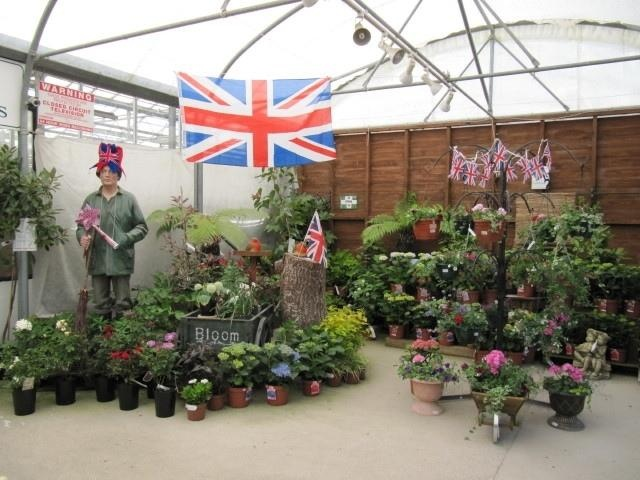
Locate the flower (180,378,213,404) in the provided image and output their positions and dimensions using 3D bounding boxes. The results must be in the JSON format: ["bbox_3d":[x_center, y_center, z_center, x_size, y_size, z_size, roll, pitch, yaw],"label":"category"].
[{"bbox_3d":[-1.219,1.475,4.930,0.283,0.217,0.270,7,3,-4],"label":"flower"}]

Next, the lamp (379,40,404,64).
[{"bbox_3d":[0.795,-2.072,5.485,0.262,0.232,0.362,2,10,8],"label":"lamp"}]

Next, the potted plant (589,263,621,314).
[{"bbox_3d":[3.686,0.631,6.406,0.364,0.621,0.208,5,11,24],"label":"potted plant"}]

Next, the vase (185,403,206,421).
[{"bbox_3d":[-1.222,1.699,4.868,0.186,0.122,0.179,0,-6,0],"label":"vase"}]

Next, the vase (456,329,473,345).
[{"bbox_3d":[1.985,1.343,6.821,0.244,0.163,0.233,1,-8,-6],"label":"vase"}]

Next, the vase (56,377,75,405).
[{"bbox_3d":[-2.659,1.587,5.193,0.184,0.303,0.100,-5,11,-28],"label":"vase"}]

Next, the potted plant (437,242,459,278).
[{"bbox_3d":[1.812,0.323,7.057,0.369,0.444,0.454,-1,-1,28],"label":"potted plant"}]

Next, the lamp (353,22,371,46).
[{"bbox_3d":[0.450,-2.208,5.259,0.147,0.266,0.320,2,10,6],"label":"lamp"}]

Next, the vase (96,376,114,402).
[{"bbox_3d":[-2.286,1.585,5.304,0.182,0.296,0.145,-4,11,-24],"label":"vase"}]

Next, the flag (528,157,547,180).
[{"bbox_3d":[3.025,-0.992,6.966,0.351,0.321,0.092,-1,1,-14],"label":"flag"}]

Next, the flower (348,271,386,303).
[{"bbox_3d":[0.733,0.777,8.028,0.522,0.408,0.515,-29,25,-38],"label":"flower"}]

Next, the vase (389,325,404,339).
[{"bbox_3d":[1.178,1.420,7.656,0.216,0.150,0.209,1,-4,17],"label":"vase"}]

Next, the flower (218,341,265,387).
[{"bbox_3d":[-0.820,1.306,5.172,0.496,0.337,0.449,-1,15,-1],"label":"flower"}]

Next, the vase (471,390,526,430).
[{"bbox_3d":[1.716,1.595,4.755,0.476,0.325,0.436,0,-2,22],"label":"vase"}]

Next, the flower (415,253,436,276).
[{"bbox_3d":[1.567,0.358,7.368,0.331,0.163,0.317,0,36,21],"label":"flower"}]

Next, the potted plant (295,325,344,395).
[{"bbox_3d":[0.029,1.366,5.663,0.631,0.548,0.618,4,-2,-44],"label":"potted plant"}]

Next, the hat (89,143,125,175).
[{"bbox_3d":[-2.534,-0.968,6.013,0.445,0.395,0.390,7,1,-9],"label":"hat"}]

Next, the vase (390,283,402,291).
[{"bbox_3d":[1.215,0.780,7.894,0.188,0.128,0.111,4,10,21],"label":"vase"}]

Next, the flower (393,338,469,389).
[{"bbox_3d":[1.225,1.325,5.324,0.741,0.479,0.709,6,-9,-22],"label":"flower"}]

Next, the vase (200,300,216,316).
[{"bbox_3d":[-1.281,0.784,5.692,0.179,0.179,0.134,-1,10,-13],"label":"vase"}]

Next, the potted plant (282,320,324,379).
[{"bbox_3d":[-0.159,1.243,5.624,0.530,0.561,0.581,-3,6,23],"label":"potted plant"}]

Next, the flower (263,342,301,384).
[{"bbox_3d":[-0.425,1.334,5.336,0.441,0.305,0.411,6,37,-13],"label":"flower"}]

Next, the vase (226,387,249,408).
[{"bbox_3d":[-0.849,1.644,5.160,0.223,0.144,0.214,2,0,7],"label":"vase"}]

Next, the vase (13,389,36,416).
[{"bbox_3d":[-2.949,1.602,4.967,0.202,0.293,0.170,-5,12,-31],"label":"vase"}]

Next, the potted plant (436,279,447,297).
[{"bbox_3d":[1.874,0.769,7.599,0.142,0.302,0.241,3,10,16],"label":"potted plant"}]

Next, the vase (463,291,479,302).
[{"bbox_3d":[2.152,0.823,7.074,0.214,0.116,0.211,-1,-2,24],"label":"vase"}]

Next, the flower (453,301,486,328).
[{"bbox_3d":[2.037,0.995,6.643,0.343,0.218,0.335,1,2,33],"label":"flower"}]

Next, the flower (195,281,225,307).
[{"bbox_3d":[-1.269,0.612,5.723,0.296,0.186,0.353,-3,0,-3],"label":"flower"}]

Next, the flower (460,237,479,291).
[{"bbox_3d":[2.080,0.376,6.911,0.234,0.722,0.671,4,10,18],"label":"flower"}]

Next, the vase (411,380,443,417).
[{"bbox_3d":[1.113,1.625,5.173,0.375,0.255,0.365,1,-4,13],"label":"vase"}]

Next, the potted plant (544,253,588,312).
[{"bbox_3d":[3.046,0.527,6.152,0.483,0.630,0.800,7,11,31],"label":"potted plant"}]

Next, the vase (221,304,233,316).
[{"bbox_3d":[-1.029,0.824,5.581,0.124,0.123,0.190,-1,10,-11],"label":"vase"}]

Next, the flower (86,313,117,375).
[{"bbox_3d":[-2.386,1.156,5.388,0.311,0.570,0.482,3,-12,-21],"label":"flower"}]

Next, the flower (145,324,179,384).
[{"bbox_3d":[-1.679,1.290,5.278,0.345,0.484,0.569,-2,10,-18],"label":"flower"}]

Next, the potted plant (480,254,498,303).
[{"bbox_3d":[2.394,0.594,7.045,0.226,0.727,0.492,4,10,19],"label":"potted plant"}]

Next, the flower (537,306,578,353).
[{"bbox_3d":[2.963,1.090,6.213,0.598,0.613,0.277,-8,13,-43],"label":"flower"}]

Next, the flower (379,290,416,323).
[{"bbox_3d":[1.202,1.030,7.677,0.562,0.458,0.481,0,-2,4],"label":"flower"}]

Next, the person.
[{"bbox_3d":[-2.512,-0.043,5.907,0.617,2.185,0.695,4,10,15],"label":"person"}]

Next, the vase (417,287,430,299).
[{"bbox_3d":[1.583,0.831,7.618,0.182,0.129,0.174,1,-5,6],"label":"vase"}]

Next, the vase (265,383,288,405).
[{"bbox_3d":[-0.451,1.639,5.276,0.227,0.152,0.217,1,-5,-20],"label":"vase"}]

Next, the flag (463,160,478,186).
[{"bbox_3d":[2.255,-1.014,7.415,0.226,0.369,0.279,1,10,1],"label":"flag"}]

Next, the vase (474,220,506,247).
[{"bbox_3d":[2.280,-0.073,6.656,0.392,0.271,0.374,0,-3,-1],"label":"vase"}]

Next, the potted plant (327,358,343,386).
[{"bbox_3d":[0.172,1.606,5.843,0.200,0.144,0.196,1,6,-14],"label":"potted plant"}]

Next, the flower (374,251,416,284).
[{"bbox_3d":[1.212,0.443,8.102,0.596,0.374,0.568,1,-2,1],"label":"flower"}]

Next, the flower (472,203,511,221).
[{"bbox_3d":[2.344,-0.354,6.756,0.328,0.152,0.331,3,4,40],"label":"flower"}]

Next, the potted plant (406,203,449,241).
[{"bbox_3d":[1.634,-0.255,7.616,0.637,0.509,0.587,0,-6,1],"label":"potted plant"}]

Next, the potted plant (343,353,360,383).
[{"bbox_3d":[0.412,1.569,5.964,0.178,0.259,0.300,6,11,26],"label":"potted plant"}]
